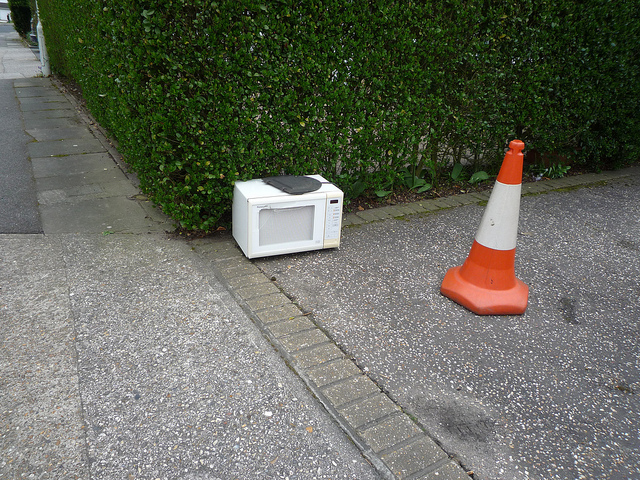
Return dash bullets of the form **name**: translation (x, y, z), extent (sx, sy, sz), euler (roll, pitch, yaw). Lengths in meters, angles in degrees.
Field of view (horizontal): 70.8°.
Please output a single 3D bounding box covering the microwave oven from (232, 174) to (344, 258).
- **microwave oven**: translation (-0.400, -0.279, 4.855), extent (1.105, 0.657, 0.822), euler (-3, 21, -19)
